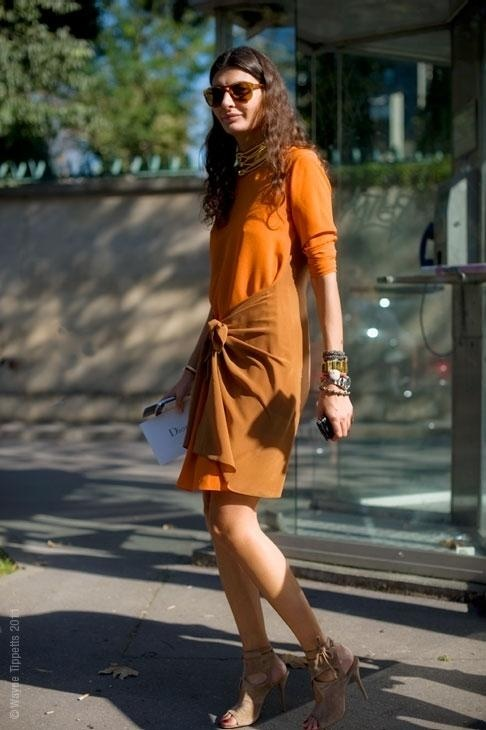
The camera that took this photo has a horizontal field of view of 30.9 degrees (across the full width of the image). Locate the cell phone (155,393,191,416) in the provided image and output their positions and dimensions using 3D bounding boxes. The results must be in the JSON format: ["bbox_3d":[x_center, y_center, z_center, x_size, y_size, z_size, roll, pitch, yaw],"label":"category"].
[{"bbox_3d":[-0.215,0.123,2.712,0.084,0.022,0.061,-26,-18,25],"label":"cell phone"}]

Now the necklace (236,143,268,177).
[{"bbox_3d":[0.014,-0.591,2.523,0.074,0.056,0.092,-27,6,-21],"label":"necklace"}]

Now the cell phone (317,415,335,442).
[{"bbox_3d":[0.208,0.172,2.341,0.017,0.056,0.062,-18,11,36],"label":"cell phone"}]
